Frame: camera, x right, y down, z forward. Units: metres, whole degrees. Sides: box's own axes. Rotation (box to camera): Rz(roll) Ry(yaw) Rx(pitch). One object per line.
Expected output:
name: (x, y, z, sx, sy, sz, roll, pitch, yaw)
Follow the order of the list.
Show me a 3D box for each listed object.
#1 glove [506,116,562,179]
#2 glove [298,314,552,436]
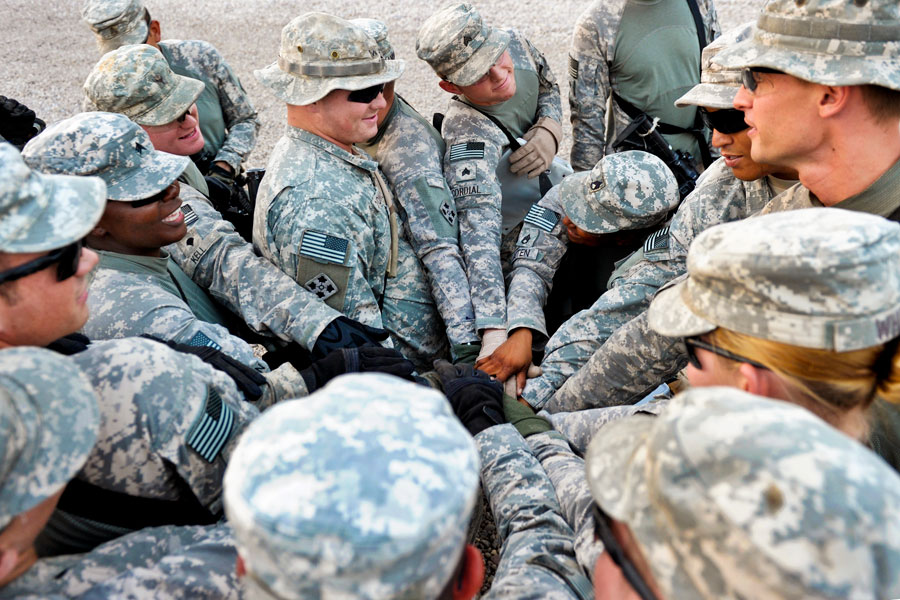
glove: (0.596, -1.014, 6.567, 0.310, 0.155, 0.411, 9, 58, 11)
glove: (-0.120, 0.383, 4.739, 0.913, 0.296, 0.604, 21, 12, -6)
